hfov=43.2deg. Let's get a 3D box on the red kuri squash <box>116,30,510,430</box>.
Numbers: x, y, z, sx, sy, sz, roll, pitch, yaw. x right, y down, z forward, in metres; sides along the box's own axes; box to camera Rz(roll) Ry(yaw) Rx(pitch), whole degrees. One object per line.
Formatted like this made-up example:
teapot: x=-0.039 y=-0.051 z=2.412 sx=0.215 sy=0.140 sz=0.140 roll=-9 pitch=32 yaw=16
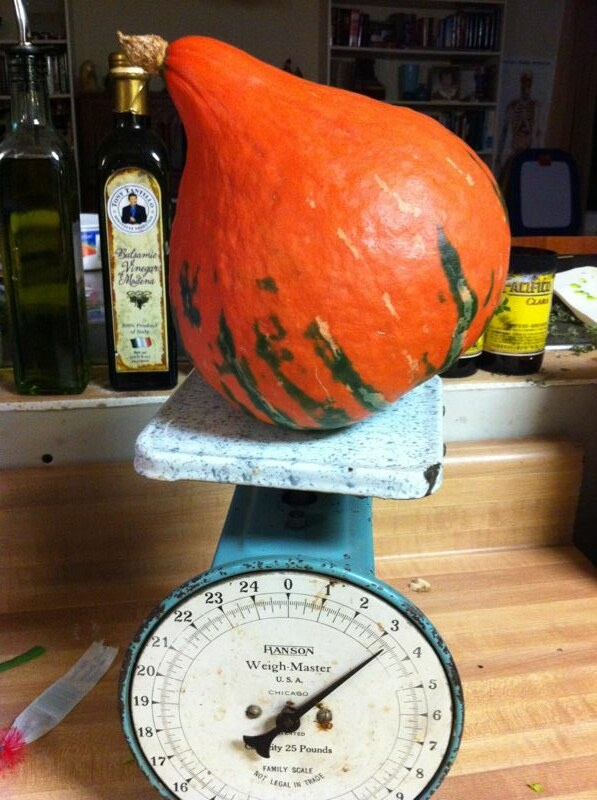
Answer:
red kuri squash: x=0.012 y=-0.082 z=0.407 sx=0.202 sy=0.201 sz=0.101 roll=-2 pitch=25 yaw=-10
